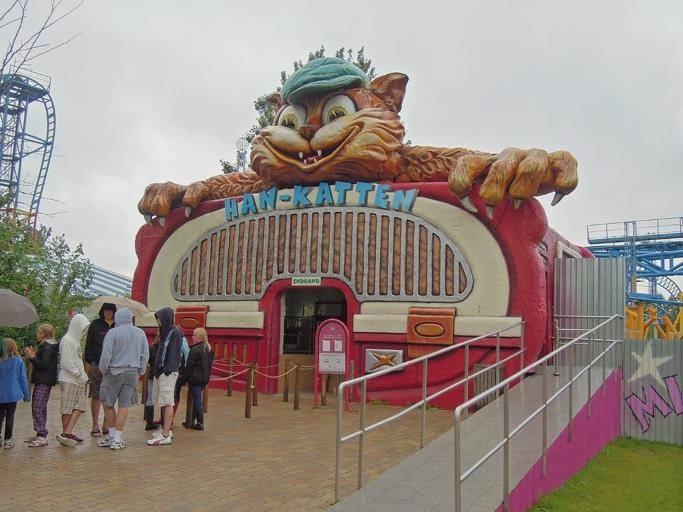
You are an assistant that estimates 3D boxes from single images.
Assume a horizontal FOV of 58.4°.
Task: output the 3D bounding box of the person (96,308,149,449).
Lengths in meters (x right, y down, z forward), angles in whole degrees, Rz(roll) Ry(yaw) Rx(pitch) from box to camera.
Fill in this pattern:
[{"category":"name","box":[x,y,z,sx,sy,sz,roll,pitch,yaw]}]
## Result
[{"category":"person","box":[-3.726,2.053,10.409,0.750,2.377,0.715,0,-9,3]}]
